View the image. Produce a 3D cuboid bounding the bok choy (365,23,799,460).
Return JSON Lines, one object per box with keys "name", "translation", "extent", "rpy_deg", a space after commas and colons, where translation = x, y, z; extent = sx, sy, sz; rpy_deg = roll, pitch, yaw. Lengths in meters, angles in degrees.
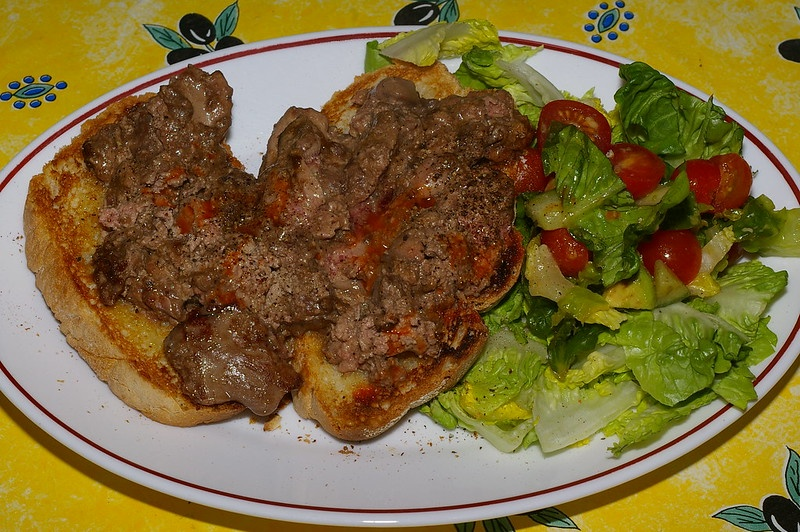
{"name": "bok choy", "translation": [1.415, -0.133, 5.651], "extent": [2.611, 0.534, 2.613], "rpy_deg": [-29, 82, 1]}
